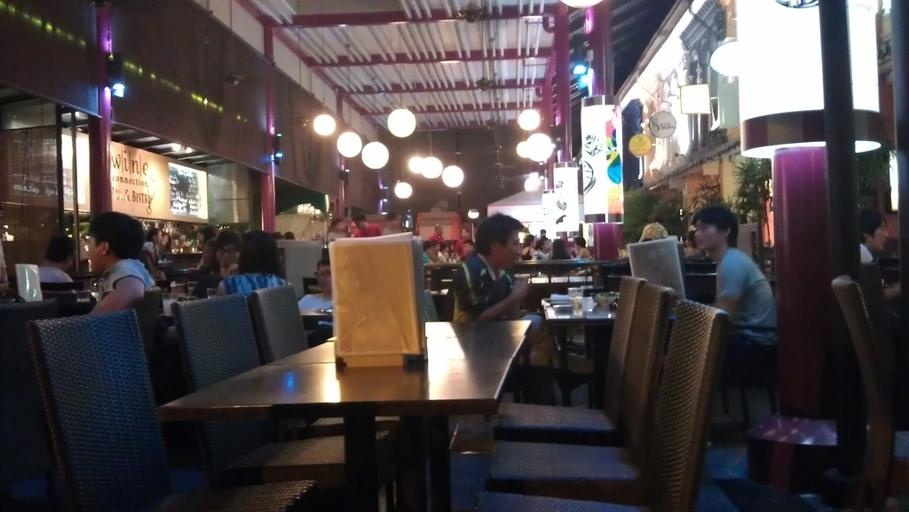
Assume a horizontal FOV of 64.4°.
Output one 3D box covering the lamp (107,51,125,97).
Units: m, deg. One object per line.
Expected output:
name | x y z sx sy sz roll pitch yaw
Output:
lamp | -5.104 -2.729 10.924 0.214 0.656 0.465 -2 0 -24
